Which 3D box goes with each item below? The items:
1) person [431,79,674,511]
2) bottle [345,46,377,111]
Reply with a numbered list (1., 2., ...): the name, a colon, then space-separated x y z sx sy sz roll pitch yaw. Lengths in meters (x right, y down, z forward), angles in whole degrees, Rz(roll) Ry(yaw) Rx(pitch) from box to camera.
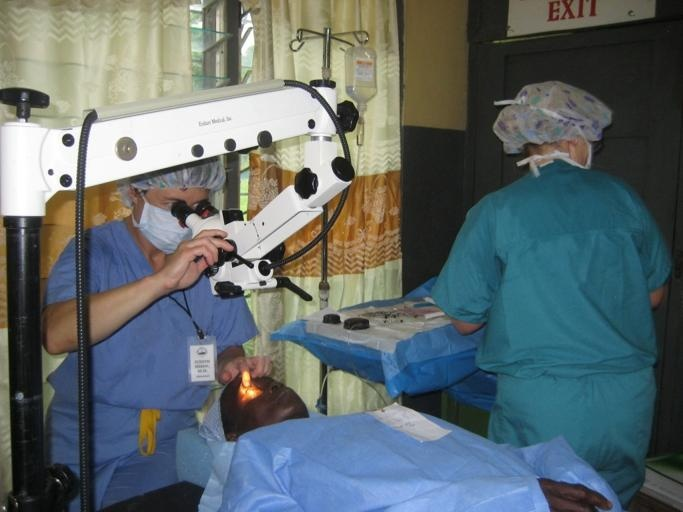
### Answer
1. person: 0.714 0.285 2.303 0.570 1.607 0.607 -2 3 -39
2. bottle: 0.078 -0.761 2.971 0.106 0.267 0.125 -4 18 -34
